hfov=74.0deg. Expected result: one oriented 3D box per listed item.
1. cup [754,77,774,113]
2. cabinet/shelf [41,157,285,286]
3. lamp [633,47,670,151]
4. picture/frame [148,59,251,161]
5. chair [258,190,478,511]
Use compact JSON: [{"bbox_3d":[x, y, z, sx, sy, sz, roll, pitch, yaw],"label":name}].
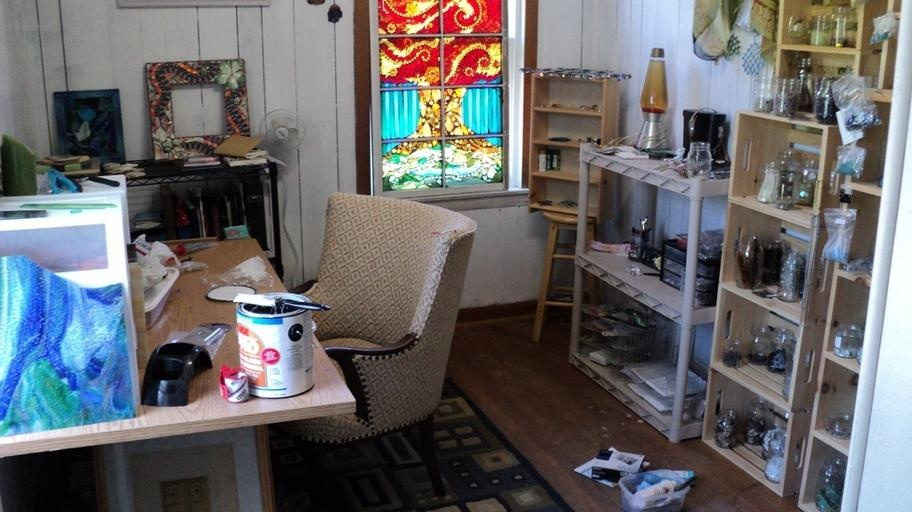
[{"bbox_3d":[1.725,-0.903,3.399,0.070,0.190,0.143,-9,18,-16],"label":"cup"},{"bbox_3d":[-1.589,-0.205,3.327,0.931,0.801,0.314,-3,6,-16],"label":"cabinet/shelf"},{"bbox_3d":[1.416,-1.119,4.344,0.203,0.696,0.467,5,19,25],"label":"lamp"},{"bbox_3d":[-1.870,-1.045,4.343,0.799,0.735,0.035,-3,9,-18],"label":"picture/frame"},{"bbox_3d":[-0.530,0.446,4.176,1.574,1.883,1.810,-7,15,-34],"label":"chair"}]
